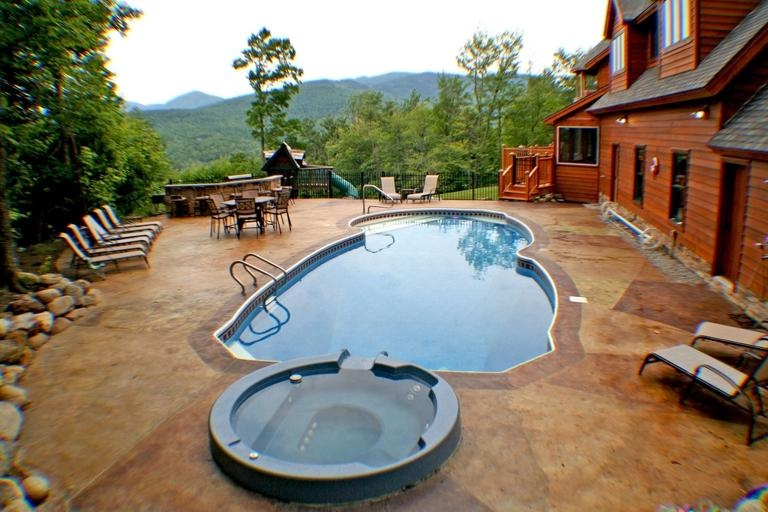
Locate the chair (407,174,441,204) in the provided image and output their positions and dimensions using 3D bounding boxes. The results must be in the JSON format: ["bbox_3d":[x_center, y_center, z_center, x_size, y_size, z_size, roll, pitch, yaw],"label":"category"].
[{"bbox_3d":[2.231,-3.608,22.129,1.276,1.391,2.123,7,22,29],"label":"chair"}]

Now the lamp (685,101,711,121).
[{"bbox_3d":[8.213,-3.711,10.480,0.178,0.408,0.551,9,13,7],"label":"lamp"}]

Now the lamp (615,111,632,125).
[{"bbox_3d":[9.210,-5.190,15.464,0.358,0.405,0.950,5,21,24],"label":"lamp"}]

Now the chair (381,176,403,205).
[{"bbox_3d":[0.376,-3.491,21.824,0.997,1.366,2.226,-4,19,0],"label":"chair"}]
